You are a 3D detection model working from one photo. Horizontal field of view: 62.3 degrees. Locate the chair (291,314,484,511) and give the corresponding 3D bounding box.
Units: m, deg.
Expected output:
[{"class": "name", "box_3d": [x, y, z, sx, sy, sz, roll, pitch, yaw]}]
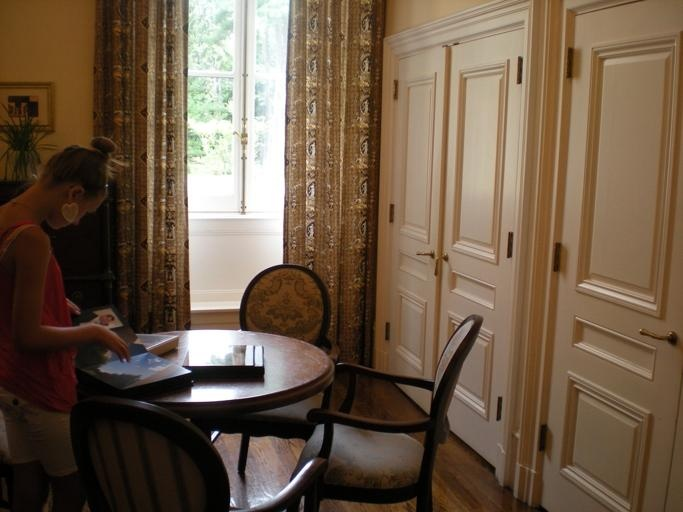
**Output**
[{"class": "chair", "box_3d": [0.177, 0.760, 2.357, 0.763, 1.054, 0.695, 1, 9, -6]}]
